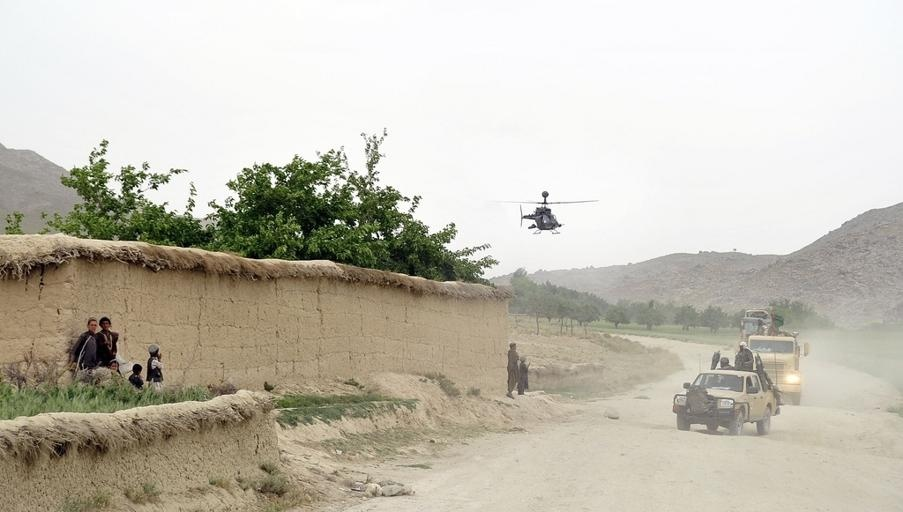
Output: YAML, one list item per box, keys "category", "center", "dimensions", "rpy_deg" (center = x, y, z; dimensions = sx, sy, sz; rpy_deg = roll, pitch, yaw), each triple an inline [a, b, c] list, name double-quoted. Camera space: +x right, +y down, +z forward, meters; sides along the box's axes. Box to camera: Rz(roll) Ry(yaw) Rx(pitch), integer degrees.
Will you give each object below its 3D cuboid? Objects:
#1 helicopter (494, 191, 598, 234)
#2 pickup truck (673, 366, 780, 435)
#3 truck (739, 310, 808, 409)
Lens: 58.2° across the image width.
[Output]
- category: "helicopter"
  center: [4.918, -2.207, 41.896]
  dimensions: [5.666, 2.143, 5.705]
  rpy_deg: [1, 5, 11]
- category: "pickup truck"
  center: [11.259, 5.913, 32.791]
  dimensions: [2.880, 2.581, 6.517]
  rpy_deg: [0, -1, 35]
- category: "truck"
  center: [16.914, 5.360, 42.352]
  dimensions: [3.213, 4.242, 9.854]
  rpy_deg: [-1, -3, 21]
